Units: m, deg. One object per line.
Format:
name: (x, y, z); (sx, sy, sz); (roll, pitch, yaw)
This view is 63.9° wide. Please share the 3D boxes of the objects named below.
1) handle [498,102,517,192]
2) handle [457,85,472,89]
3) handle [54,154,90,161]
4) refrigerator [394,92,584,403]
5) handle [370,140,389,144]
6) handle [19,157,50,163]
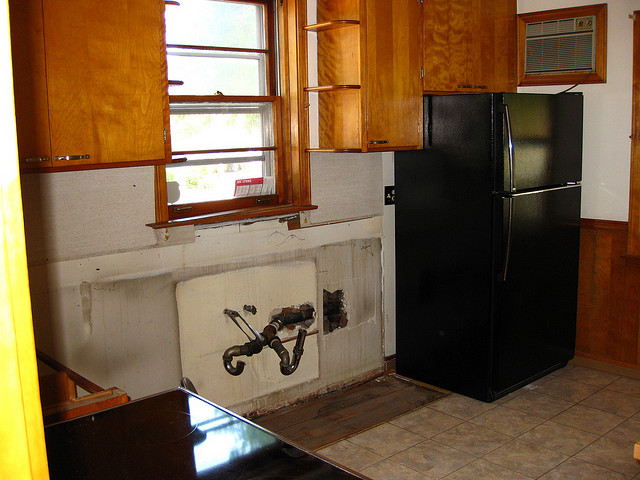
handle: (1.197, -0.575, 3.225); (0.182, 0.552, 0.051); (-8, 11, -33)
handle: (0.985, -1.036, 3.463); (0.137, 0.021, 0.007); (-8, 11, -32)
handle: (-1.078, -0.355, 2.202); (0.095, 0.021, 0.015); (-11, 22, -25)
refrigerator: (1.306, 0.012, 3.825); (1.157, 1.970, 1.042); (-6, 8, -30)
handle: (0.372, -0.607, 3.173); (0.165, 0.023, 0.011); (-11, 13, -41)
handle: (-1.188, -0.332, 2.128); (0.104, 0.018, 0.024); (-5, 10, -19)
